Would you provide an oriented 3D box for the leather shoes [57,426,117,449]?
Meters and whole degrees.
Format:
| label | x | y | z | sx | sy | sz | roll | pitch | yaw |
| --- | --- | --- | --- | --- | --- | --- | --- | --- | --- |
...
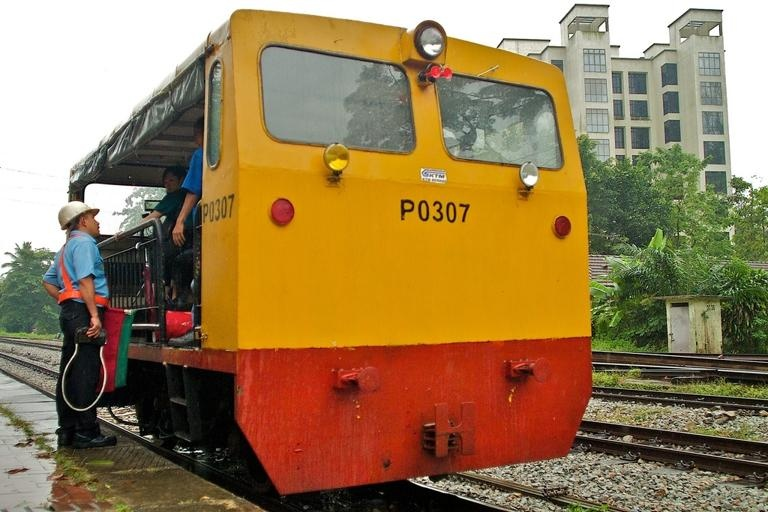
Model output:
| label | x | y | z | sx | sy | sz | roll | pitch | yaw |
| --- | --- | --- | --- | --- | --- | --- | --- | --- | --- |
| leather shoes | -3.227 | 1.984 | 7.397 | 0.491 | 0.228 | 0.266 | 2 | -4 | -23 |

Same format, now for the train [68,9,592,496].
| label | x | y | z | sx | sy | sz | roll | pitch | yaw |
| --- | --- | --- | --- | --- | --- | --- | --- | --- | --- |
| train | -1.019 | 0.270 | 8.632 | 3.221 | 3.474 | 5.804 | 1 | -7 | -25 |

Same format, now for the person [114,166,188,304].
| label | x | y | z | sx | sy | sz | roll | pitch | yaw |
| --- | --- | --- | --- | --- | --- | --- | --- | --- | --- |
| person | -3.009 | -0.358 | 9.058 | 0.759 | 1.799 | 0.492 | 12 | 12 | -11 |
